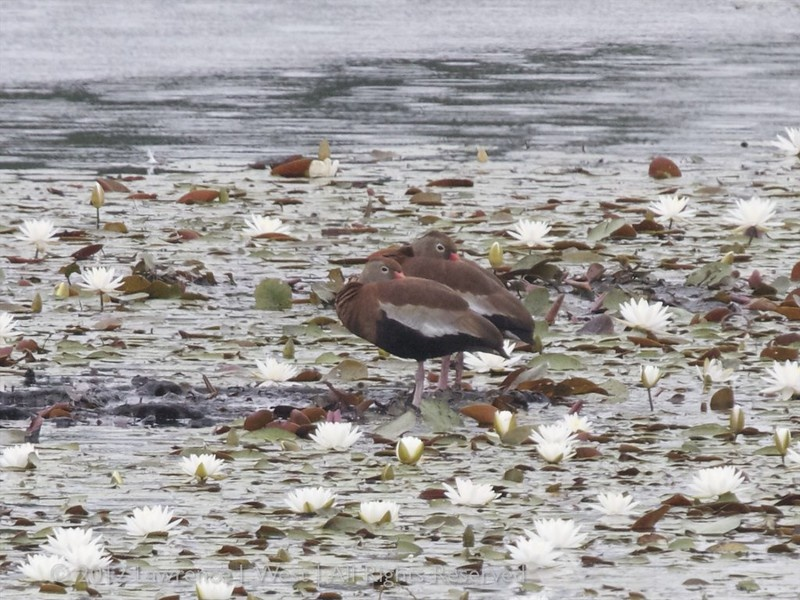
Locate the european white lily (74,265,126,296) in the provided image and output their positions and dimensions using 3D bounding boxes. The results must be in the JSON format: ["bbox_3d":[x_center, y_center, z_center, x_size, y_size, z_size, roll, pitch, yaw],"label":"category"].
[{"bbox_3d":[-2.082,-0.125,11.486,0.332,0.337,0.160,-1,89,-27],"label":"european white lily"}]

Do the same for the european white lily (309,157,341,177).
[{"bbox_3d":[-0.757,-1.319,16.201,0.297,0.195,0.133,0,83,-12],"label":"european white lily"}]
